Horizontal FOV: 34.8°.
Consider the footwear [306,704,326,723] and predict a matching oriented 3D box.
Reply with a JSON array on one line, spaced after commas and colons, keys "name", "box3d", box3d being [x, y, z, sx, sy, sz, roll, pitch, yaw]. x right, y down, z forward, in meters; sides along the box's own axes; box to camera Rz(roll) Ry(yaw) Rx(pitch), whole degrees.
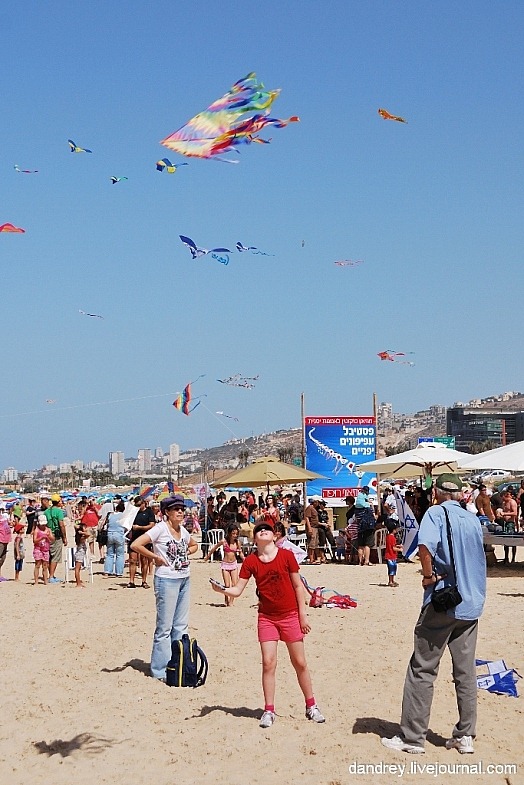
[{"name": "footwear", "box3d": [0.427, 2.557, 6.680, 0.084, 0.079, 0.185, 2, -11, -22]}]

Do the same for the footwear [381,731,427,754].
[{"name": "footwear", "box3d": [1.007, 2.504, 5.988, 0.279, 0.127, 0.101, 7, -7, 13]}]

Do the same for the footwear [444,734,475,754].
[{"name": "footwear", "box3d": [1.412, 2.486, 5.988, 0.090, 0.108, 0.236, 2, -3, -21]}]

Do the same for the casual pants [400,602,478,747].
[{"name": "casual pants", "box3d": [1.246, 2.002, 5.940, 0.545, 1.009, 0.296, -1, -6, 7]}]

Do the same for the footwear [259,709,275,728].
[{"name": "footwear", "box3d": [0.035, 2.563, 6.630, 0.122, 0.130, 0.194, 0, -5, 1]}]

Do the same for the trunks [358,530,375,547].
[{"name": "trunks", "box3d": [2.170, 3.037, 17.518, 0.353, 0.420, 0.261, 5, 5, 15]}]

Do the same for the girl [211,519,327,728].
[{"name": "girl", "box3d": [0.107, 1.836, 6.763, 0.780, 1.601, 0.561, 0, -5, 2]}]

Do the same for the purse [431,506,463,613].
[{"name": "purse", "box3d": [1.285, 1.176, 5.889, 0.169, 0.709, 0.166, 2, -6, -19]}]

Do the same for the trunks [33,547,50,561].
[{"name": "trunks", "box3d": [-4.090, 3.012, 15.534, 0.277, 0.241, 0.332, 1, -1, 10]}]

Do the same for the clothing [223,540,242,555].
[{"name": "clothing", "box3d": [-0.451, 2.303, 12.410, 0.293, 0.140, 0.210, -4, 8, -31]}]

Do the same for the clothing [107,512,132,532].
[{"name": "clothing", "box3d": [-2.850, 2.543, 16.577, 0.399, 0.391, 0.281, 12, -27, 47]}]

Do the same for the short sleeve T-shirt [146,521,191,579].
[{"name": "short sleeve T-shirt", "box3d": [-0.914, 1.521, 8.243, 0.350, 0.556, 0.613, -1, -9, 32]}]

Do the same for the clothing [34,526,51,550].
[{"name": "clothing", "box3d": [-4.042, 2.658, 15.326, 0.301, 0.480, 0.697, 1, -5, -14]}]
